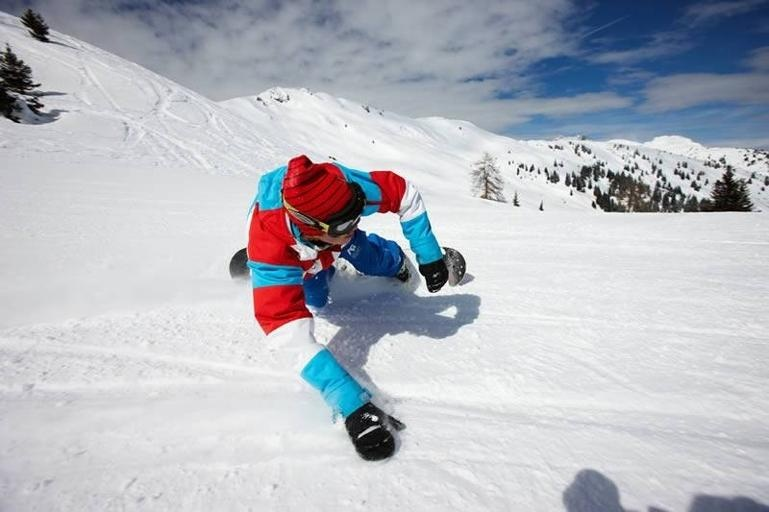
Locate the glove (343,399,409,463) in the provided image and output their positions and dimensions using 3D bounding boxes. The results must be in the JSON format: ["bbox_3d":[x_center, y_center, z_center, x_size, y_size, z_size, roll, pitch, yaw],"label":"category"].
[{"bbox_3d":[-0.096,1.461,4.258,0.444,0.195,0.565,-8,31,-13],"label":"glove"}]
